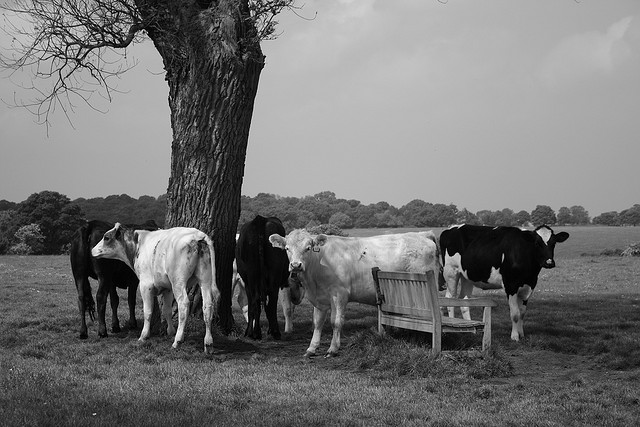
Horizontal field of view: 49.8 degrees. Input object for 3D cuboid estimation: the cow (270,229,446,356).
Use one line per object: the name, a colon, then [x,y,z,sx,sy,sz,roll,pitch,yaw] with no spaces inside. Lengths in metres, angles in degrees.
cow: [1.098,2.023,18.254,5.143,3.197,1.640,0,-1,-29]

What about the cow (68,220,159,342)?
cow: [-6.754,1.892,21.220,1.280,3.678,4.868,-4,-3,-10]

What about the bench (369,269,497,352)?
bench: [2.770,2.440,17.383,1.743,1.997,3.136,2,-3,-20]

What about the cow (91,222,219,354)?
cow: [-4.316,1.882,18.396,3.872,3.405,1.289,0,2,32]

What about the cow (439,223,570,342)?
cow: [5.179,1.956,20.152,1.282,3.081,4.757,1,0,-29]
